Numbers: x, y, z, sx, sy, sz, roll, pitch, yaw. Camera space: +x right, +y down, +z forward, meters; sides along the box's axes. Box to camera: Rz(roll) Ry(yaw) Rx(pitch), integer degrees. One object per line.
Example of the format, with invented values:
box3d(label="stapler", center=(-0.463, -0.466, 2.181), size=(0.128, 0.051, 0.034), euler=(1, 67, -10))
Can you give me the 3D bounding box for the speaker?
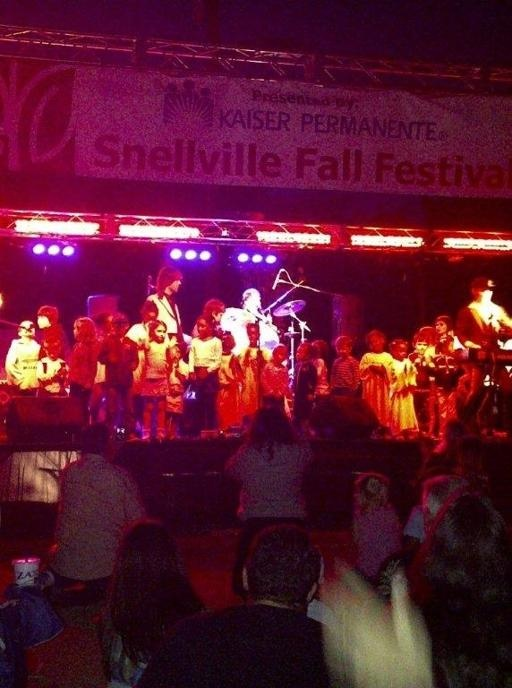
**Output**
box3d(label="speaker", center=(-2.183, 0.820, 7.627), size=(0.927, 0.571, 0.674), euler=(8, -14, -37))
